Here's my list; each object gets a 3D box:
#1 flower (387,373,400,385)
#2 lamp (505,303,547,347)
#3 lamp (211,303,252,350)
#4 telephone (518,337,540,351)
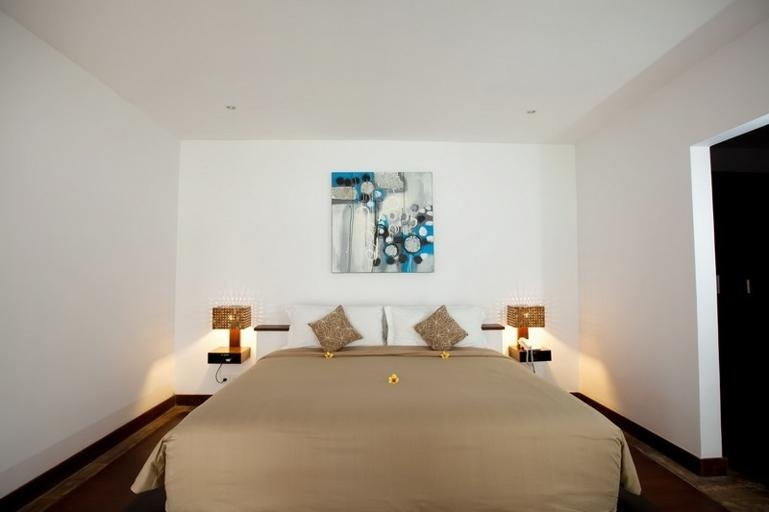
[{"bbox_3d":[0.091,1.123,4.444,0.066,0.031,0.073,13,14,43],"label":"flower"},{"bbox_3d":[1.643,0.831,5.755,0.387,0.562,0.406,0,-6,11],"label":"lamp"},{"bbox_3d":[-1.693,0.832,5.692,0.447,0.640,0.457,1,-6,-13],"label":"lamp"},{"bbox_3d":[1.701,1.053,5.784,0.185,0.072,0.193,1,2,2],"label":"telephone"}]
